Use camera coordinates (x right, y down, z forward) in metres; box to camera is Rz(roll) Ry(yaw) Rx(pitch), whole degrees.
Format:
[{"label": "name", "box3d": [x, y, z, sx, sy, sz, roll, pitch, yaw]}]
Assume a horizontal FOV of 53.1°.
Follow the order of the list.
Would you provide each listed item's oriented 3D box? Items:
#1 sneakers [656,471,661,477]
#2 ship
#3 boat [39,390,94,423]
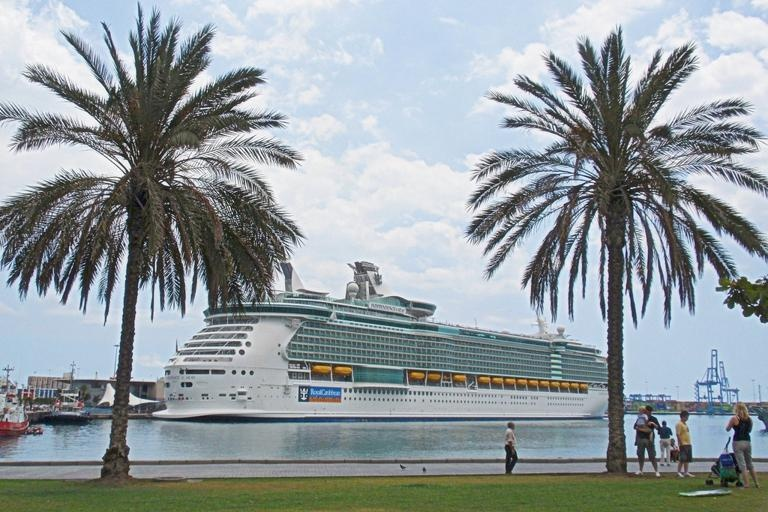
[{"label": "sneakers", "box3d": [9.394, 7.454, 26.313, 0.125, 0.174, 0.410, 0, -2, 12]}, {"label": "ship", "box3d": [5.719, 10.835, 90.383, 65.933, 18.461, 8.672, 13, -19, -42]}, {"label": "boat", "box3d": [-44.550, 21.042, 107.951, 6.113, 5.062, 15.274, 3, -16, -15]}]
